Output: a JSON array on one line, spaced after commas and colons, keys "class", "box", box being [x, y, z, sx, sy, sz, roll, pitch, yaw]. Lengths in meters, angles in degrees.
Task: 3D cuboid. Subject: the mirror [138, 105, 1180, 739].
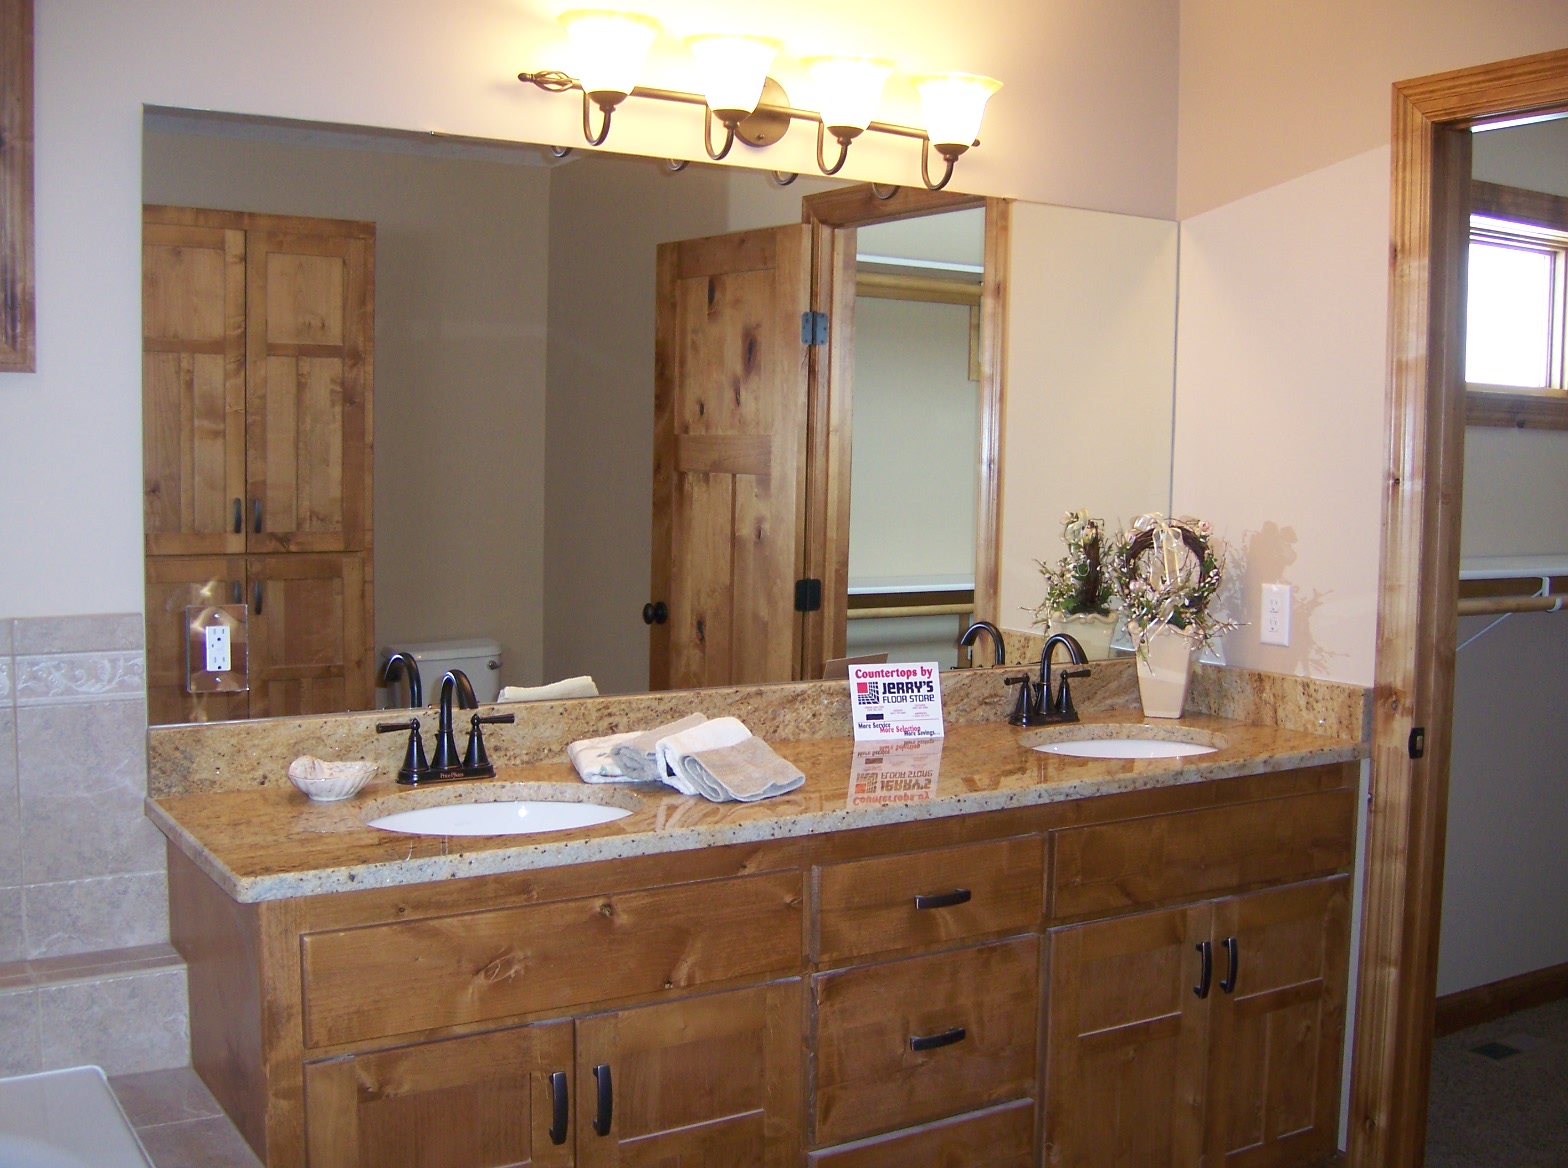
[{"class": "mirror", "box": [-0.324, -0.344, 2.726, 1.493, 0.893, 0.197, -2, 9, -29]}]

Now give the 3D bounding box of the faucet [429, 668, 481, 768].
[{"class": "faucet", "box": [-0.664, 0.264, 2.537, 0.082, 0.197, 0.203, -2, 7, -15]}]

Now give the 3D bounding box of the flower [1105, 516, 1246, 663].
[{"class": "flower", "box": [0.955, 0.020, 3.063, 0.290, 0.348, 0.143, 0, -5, 3]}]

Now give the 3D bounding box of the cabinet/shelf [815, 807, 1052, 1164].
[{"class": "cabinet/shelf", "box": [0.245, 0.736, 2.678, 0.622, 0.737, 0.478, 0, -2, -28]}]

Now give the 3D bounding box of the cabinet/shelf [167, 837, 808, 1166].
[{"class": "cabinet/shelf", "box": [-0.502, 0.678, 2.216, 1.102, 0.414, 0.399, -2, 7, -12]}]

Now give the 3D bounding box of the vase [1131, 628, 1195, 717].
[{"class": "vase", "box": [0.941, 0.216, 3.126, 0.193, 0.280, 0.198, 0, -1, 11]}]

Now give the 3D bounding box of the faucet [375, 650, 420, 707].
[{"class": "faucet", "box": [-0.784, 0.192, 2.549, 0.069, 0.078, 0.136, 11, 10, -12]}]

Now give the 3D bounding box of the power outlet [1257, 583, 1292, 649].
[{"class": "power outlet", "box": [1.214, 0.074, 3.106, 0.016, 0.151, 0.091, -4, 8, -30]}]

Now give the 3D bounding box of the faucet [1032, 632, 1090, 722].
[{"class": "faucet", "box": [0.688, 0.234, 3.134, 0.177, 0.218, 0.181, -4, 0, -15]}]

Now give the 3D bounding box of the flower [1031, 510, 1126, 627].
[{"class": "flower", "box": [0.783, -0.006, 3.266, 0.167, 0.257, 0.174, 9, 2, 16]}]

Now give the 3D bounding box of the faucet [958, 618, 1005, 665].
[{"class": "faucet", "box": [0.483, 0.144, 3.121, 0.101, 0.113, 0.037, -2, 8, -19]}]

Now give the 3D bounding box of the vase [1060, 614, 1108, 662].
[{"class": "vase", "box": [0.782, 0.118, 3.294, 0.148, 0.148, 0.108, -1, 4, -13]}]

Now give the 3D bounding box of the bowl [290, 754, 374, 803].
[{"class": "bowl", "box": [-0.843, 0.360, 2.361, 0.143, 0.068, 0.130, -3, 7, -26]}]
